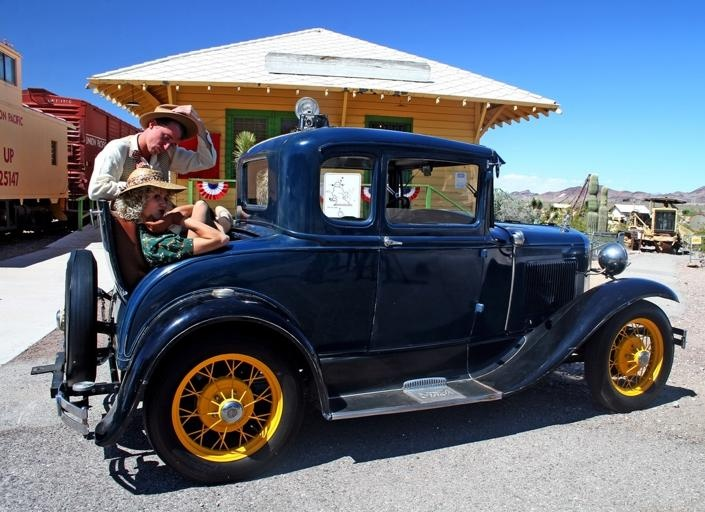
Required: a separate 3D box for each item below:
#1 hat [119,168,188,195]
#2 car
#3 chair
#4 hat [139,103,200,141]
[{"bbox_3d":[-1.369,-0.526,3.356,0.267,0.100,0.299,-1,1,32],"label":"hat"},{"bbox_3d":[0.129,0.212,3.590,4.424,2.311,1.072,-3,11,-20],"label":"car"},{"bbox_3d":[-1.542,-0.009,3.311,0.137,0.545,0.309,-2,6,32],"label":"chair"},{"bbox_3d":[-1.543,-1.161,4.066,0.388,0.140,0.348,-10,-18,37],"label":"hat"}]
